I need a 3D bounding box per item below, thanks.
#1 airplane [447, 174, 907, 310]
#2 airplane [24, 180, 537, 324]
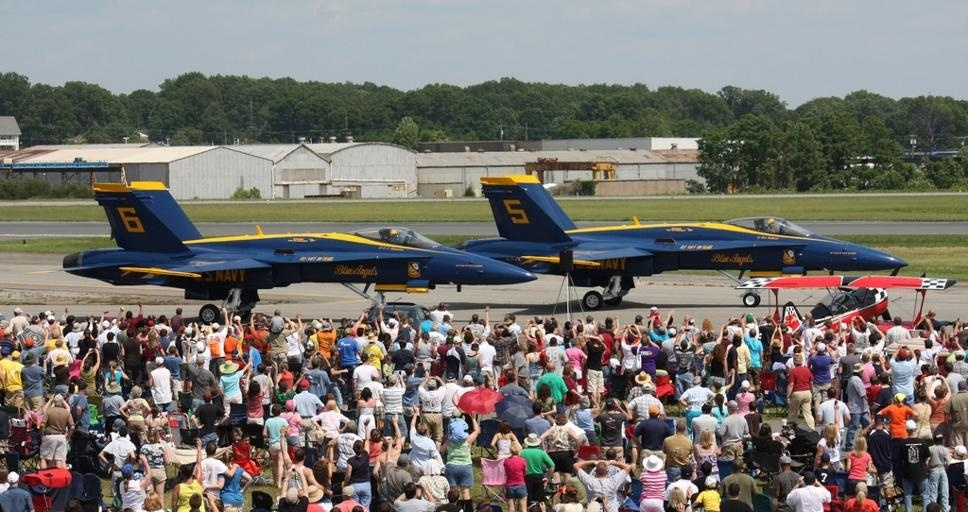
[{"bbox_3d":[26.797,-1.355,276.614,66.835,20.381,22.400,0,1,4],"label":"airplane"},{"bbox_3d":[-28.913,-1.777,259.908,52.721,16.322,3.374,-3,2,3],"label":"airplane"}]
